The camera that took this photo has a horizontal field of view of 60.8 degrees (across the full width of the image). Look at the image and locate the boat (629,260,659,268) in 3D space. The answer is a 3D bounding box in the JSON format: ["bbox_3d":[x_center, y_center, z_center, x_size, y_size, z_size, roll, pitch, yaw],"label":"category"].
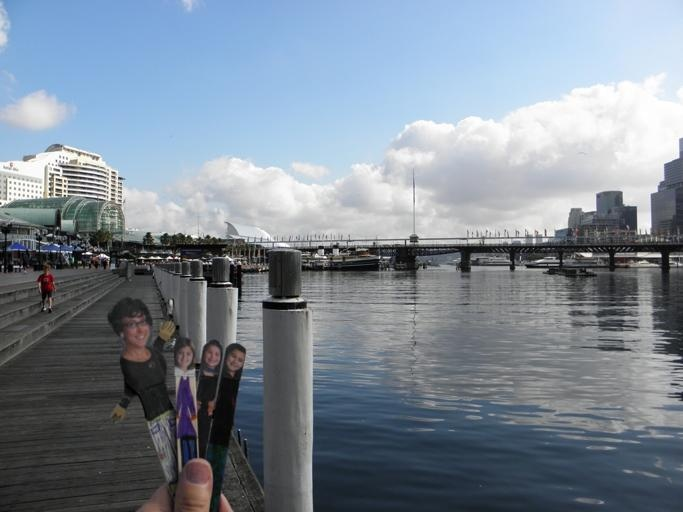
[{"bbox_3d":[127.550,3.365,245.356,9.966,4.273,13.888,1,1,11],"label":"boat"}]

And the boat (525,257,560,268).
[{"bbox_3d":[83.237,2.281,239.982,9.804,4.102,57.495,1,0,19],"label":"boat"}]
